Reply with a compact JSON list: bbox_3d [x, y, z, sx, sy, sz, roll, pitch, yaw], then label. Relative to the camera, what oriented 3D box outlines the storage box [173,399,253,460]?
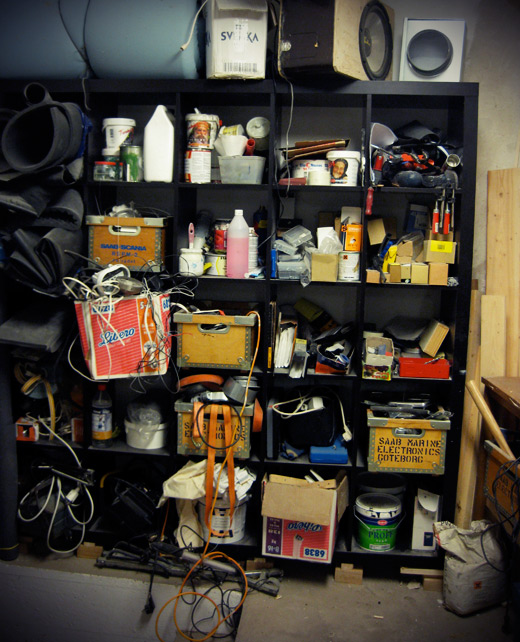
[{"bbox_3d":[-0.201,0.471,2.374,0.195,0.247,0.326,-3,-4,-24],"label":"storage box"}]

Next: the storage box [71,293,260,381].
[{"bbox_3d":[-0.368,0.061,2.169,0.493,0.259,0.388,1,3,-1],"label":"storage box"}]

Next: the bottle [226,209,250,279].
[{"bbox_3d":[-0.087,-0.298,2.251,0.078,0.254,0.050,-3,13,-11],"label":"bottle"}]

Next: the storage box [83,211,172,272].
[{"bbox_3d":[-0.528,-0.312,2.349,0.297,0.215,0.192,3,7,4],"label":"storage box"}]

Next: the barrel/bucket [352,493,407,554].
[{"bbox_3d":[0.473,0.835,2.385,0.178,0.194,0.193,7,1,0],"label":"barrel/bucket"}]

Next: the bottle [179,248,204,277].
[{"bbox_3d":[-0.267,-0.236,2.280,0.096,0.103,0.100,8,10,29],"label":"bottle"}]

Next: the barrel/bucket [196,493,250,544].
[{"bbox_3d":[-0.152,0.780,2.358,0.203,0.214,0.214,0,1,0],"label":"barrel/bucket"}]

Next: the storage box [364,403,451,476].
[{"bbox_3d":[0.559,0.465,2.222,0.267,0.183,0.285,0,11,4],"label":"storage box"}]

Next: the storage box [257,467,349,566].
[{"bbox_3d":[0.170,0.747,2.336,0.326,0.394,0.282,4,12,5],"label":"storage box"}]
